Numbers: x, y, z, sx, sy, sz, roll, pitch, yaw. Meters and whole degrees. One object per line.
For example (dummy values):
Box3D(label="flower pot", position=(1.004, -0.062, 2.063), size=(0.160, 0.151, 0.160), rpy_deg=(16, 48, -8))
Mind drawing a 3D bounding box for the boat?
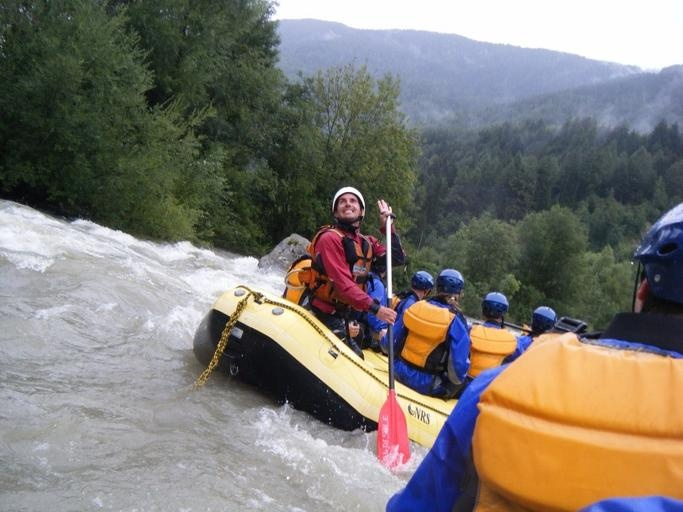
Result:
Box3D(label="boat", position=(-0.212, 1.475, 8.952), size=(2.754, 0.907, 1.680), rpy_deg=(34, -7, -8))

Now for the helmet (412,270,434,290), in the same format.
Box3D(label="helmet", position=(1.154, 0.355, 10.298), size=(0.267, 0.298, 0.212), rpy_deg=(-13, 27, -30))

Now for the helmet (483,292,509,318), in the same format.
Box3D(label="helmet", position=(2.053, 0.652, 9.725), size=(0.237, 0.334, 0.327), rpy_deg=(8, 18, 14))

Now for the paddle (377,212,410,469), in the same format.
Box3D(label="paddle", position=(0.528, 1.015, 8.066), size=(0.376, 3.230, 0.122), rpy_deg=(3, 24, 16))

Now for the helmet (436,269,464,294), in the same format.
Box3D(label="helmet", position=(1.443, 0.341, 9.646), size=(0.243, 0.371, 0.348), rpy_deg=(4, 2, 19))
